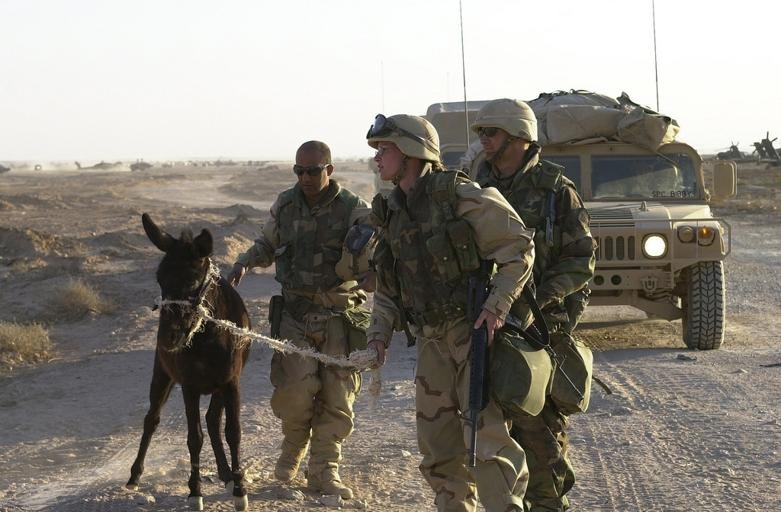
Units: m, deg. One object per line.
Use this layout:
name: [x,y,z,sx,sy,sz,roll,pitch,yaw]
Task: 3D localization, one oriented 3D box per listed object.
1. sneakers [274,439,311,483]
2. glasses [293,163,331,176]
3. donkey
sneakers: [-0.934,1.956,6.791,0.183,0.563,0.233,21,-35,-9]
glasses: [-0.717,-0.800,6.572,0.332,0.116,0.199,-3,9,-8]
donkey: [-1.590,0.889,6.245,0.855,2.586,0.762,-8,10,-35]
